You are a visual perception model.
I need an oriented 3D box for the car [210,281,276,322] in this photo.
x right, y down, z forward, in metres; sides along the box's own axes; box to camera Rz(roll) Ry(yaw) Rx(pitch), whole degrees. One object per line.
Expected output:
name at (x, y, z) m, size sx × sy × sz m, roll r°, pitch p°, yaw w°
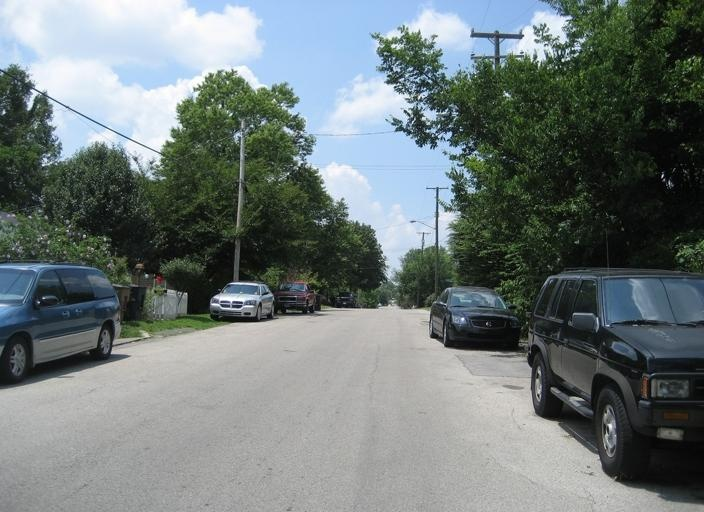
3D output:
car at (-5.051, 2.053, 25.946) m, size 1.875 × 1.950 × 3.214 m, roll 1°, pitch -8°, yaw 11°

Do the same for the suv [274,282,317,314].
suv at (-3.371, 2.581, 34.922) m, size 1.311 × 1.288 × 2.660 m, roll -1°, pitch -7°, yaw 7°

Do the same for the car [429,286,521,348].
car at (3.717, 1.761, 16.838) m, size 2.388 × 1.994 × 3.239 m, roll 1°, pitch -8°, yaw 10°

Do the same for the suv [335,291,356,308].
suv at (-0.804, 5.296, 68.119) m, size 2.122 × 2.141 × 3.562 m, roll 3°, pitch -8°, yaw -1°
